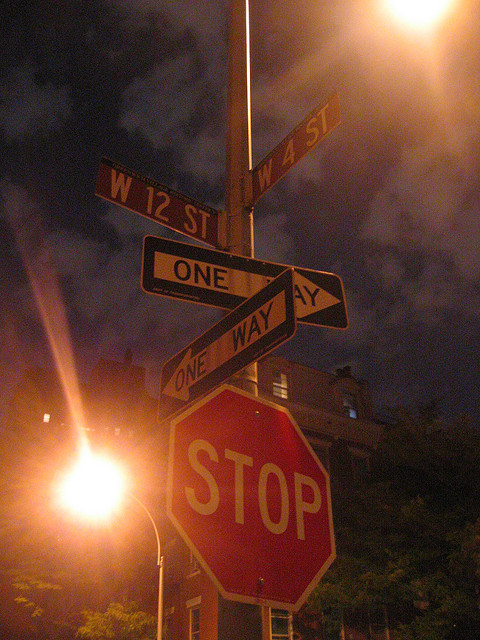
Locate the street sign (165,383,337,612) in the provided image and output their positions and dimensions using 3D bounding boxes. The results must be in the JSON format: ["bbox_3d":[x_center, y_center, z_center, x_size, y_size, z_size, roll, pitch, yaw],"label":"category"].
[{"bbox_3d":[0.093,1.026,3.917,1.070,1.537,0.145,18,-55,-12],"label":"street sign"}]

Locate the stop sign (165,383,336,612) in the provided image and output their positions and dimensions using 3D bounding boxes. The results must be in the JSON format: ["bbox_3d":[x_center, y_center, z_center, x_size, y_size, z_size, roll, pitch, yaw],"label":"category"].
[{"bbox_3d":[0.090,1.023,3.912,1.059,1.514,0.136,17,-54,-14],"label":"stop sign"}]
